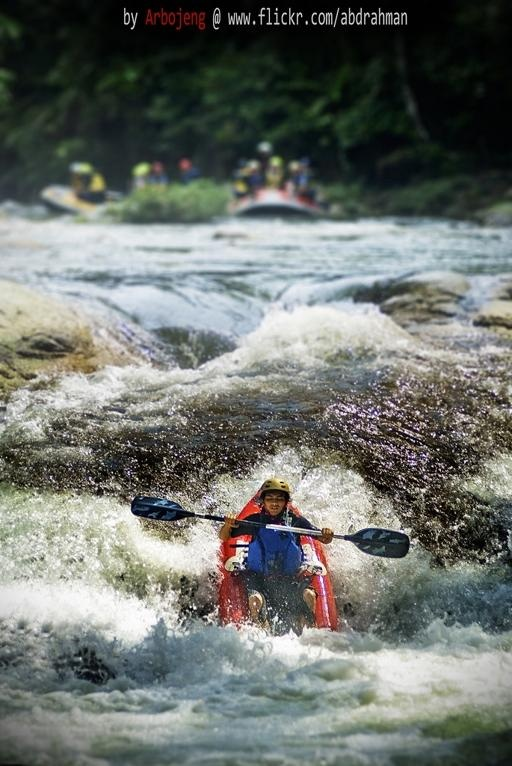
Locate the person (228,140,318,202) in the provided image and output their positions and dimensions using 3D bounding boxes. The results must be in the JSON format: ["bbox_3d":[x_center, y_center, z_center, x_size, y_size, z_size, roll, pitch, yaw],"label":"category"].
[{"bbox_3d":[0.185,-2.189,8.877,0.591,0.276,0.732,1,58,-3],"label":"person"}]

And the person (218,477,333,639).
[{"bbox_3d":[0.148,1.327,5.986,0.887,0.319,1.571,13,27,-7],"label":"person"}]

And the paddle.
[{"bbox_3d":[0.092,1.025,5.901,1.936,0.546,0.275,-3,8,-3],"label":"paddle"}]

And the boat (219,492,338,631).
[{"bbox_3d":[0.157,1.361,6.006,0.826,0.224,1.403,4,22,-7],"label":"boat"}]

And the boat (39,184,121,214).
[{"bbox_3d":[-1.986,-1.932,8.770,0.677,0.171,0.373,14,41,9],"label":"boat"}]
